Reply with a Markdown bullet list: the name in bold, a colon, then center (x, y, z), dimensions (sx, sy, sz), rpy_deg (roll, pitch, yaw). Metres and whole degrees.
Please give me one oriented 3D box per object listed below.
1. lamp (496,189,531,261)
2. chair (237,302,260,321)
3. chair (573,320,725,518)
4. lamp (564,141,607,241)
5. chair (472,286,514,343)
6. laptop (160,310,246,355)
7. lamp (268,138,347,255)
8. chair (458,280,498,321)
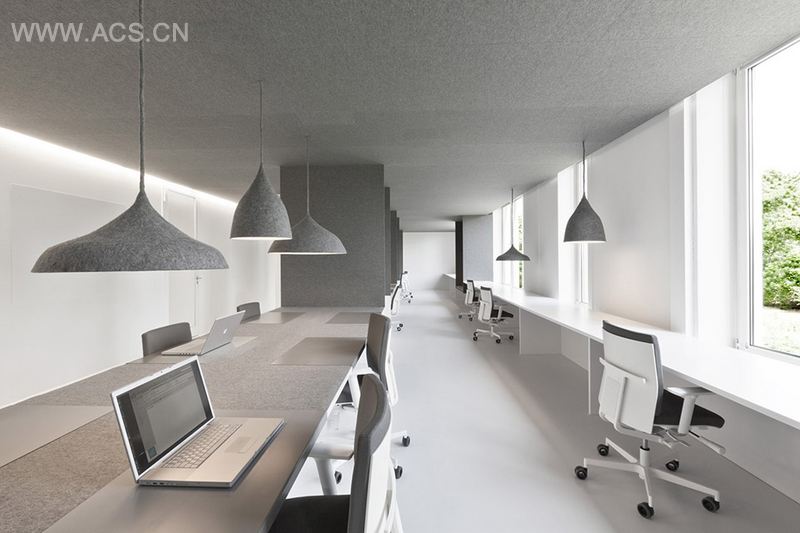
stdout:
- **lamp**: center (1.777, -0.664, 8.460), dimensions (0.522, 1.173, 0.517), rpy_deg (-1, 0, 25)
- **chair**: center (-1.707, 0.500, 6.034), dimensions (0.264, 0.337, 0.282), rpy_deg (2, 6, -9)
- **chair**: center (2.266, 1.165, 4.919), dimensions (1.315, 1.806, 1.540), rpy_deg (-2, -1, -8)
- **lamp**: center (2.103, -0.859, 6.069), dimensions (0.406, 1.162, 1.102), rpy_deg (0, 2, 21)
- **chair**: center (1.447, 0.734, 8.573), dimensions (0.798, 1.060, 0.871), rpy_deg (0, -1, 2)
- **laptop**: center (-1.652, 0.579, 4.529), dimensions (0.377, 0.250, 0.440), rpy_deg (0, -4, 7)
- **lamp**: center (-0.916, -0.728, 5.293), dimensions (0.661, 1.124, 0.657), rpy_deg (0, 0, 15)
- **chair**: center (1.350, 0.558, 9.442), dimensions (0.660, 0.737, 0.768), rpy_deg (2, -5, -5)
